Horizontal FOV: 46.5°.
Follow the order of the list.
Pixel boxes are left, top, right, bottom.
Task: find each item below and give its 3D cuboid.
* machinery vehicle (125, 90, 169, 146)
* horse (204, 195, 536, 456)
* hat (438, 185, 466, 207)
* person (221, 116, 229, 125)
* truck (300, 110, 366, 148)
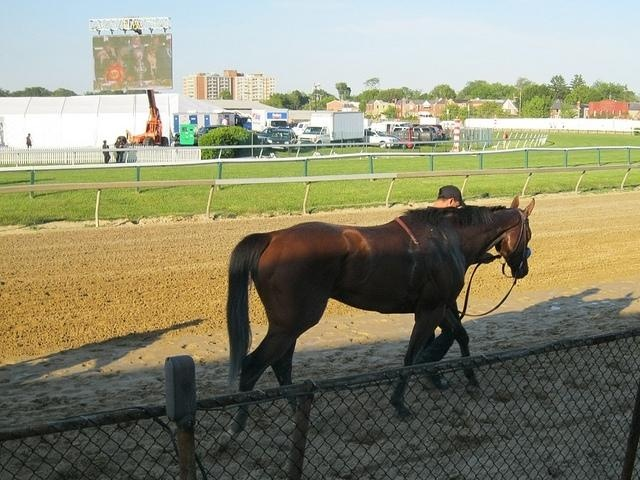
[{"bbox_3d":[-7.836,-5.565,33.745,1.725,2.506,3.507,-2,10,-10],"label":"machinery vehicle"},{"bbox_3d":[0.553,0.617,6.218,2.764,1.970,0.765,-2,7,-18],"label":"horse"},{"bbox_3d":[1.223,-0.374,6.834,0.222,0.144,0.157,21,1,-27],"label":"hat"},{"bbox_3d":[-5.266,-6.496,40.972,0.376,0.748,0.380,-1,-1,33],"label":"person"},{"bbox_3d":[0.556,-5.469,37.872,1.395,2.041,4.617,8,14,31],"label":"truck"}]
